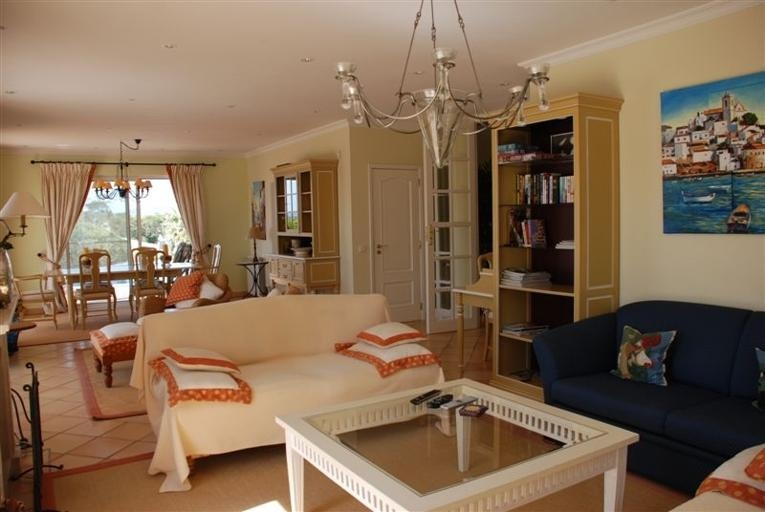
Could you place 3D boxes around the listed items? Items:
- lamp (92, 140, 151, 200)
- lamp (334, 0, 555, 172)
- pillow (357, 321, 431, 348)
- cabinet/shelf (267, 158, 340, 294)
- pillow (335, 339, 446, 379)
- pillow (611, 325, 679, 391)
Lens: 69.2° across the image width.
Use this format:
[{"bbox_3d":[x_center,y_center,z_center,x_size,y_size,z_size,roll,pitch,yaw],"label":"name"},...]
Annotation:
[{"bbox_3d":[-4.895,-1.703,10.397,1.064,1.300,0.996,-2,6,0],"label":"lamp"},{"bbox_3d":[0.646,-1.680,5.416,1.549,1.607,1.699,1,0,-42],"label":"lamp"},{"bbox_3d":[0.101,0.726,5.098,0.316,0.099,0.330,-4,3,-35],"label":"pillow"},{"bbox_3d":[-1.298,-0.502,9.145,0.800,2.131,1.727,-7,14,-26],"label":"cabinet/shelf"},{"bbox_3d":[0.028,0.992,5.086,0.710,0.155,0.647,10,4,42],"label":"pillow"},{"bbox_3d":[2.201,0.857,4.614,0.460,0.425,0.177,7,-16,41],"label":"pillow"}]
